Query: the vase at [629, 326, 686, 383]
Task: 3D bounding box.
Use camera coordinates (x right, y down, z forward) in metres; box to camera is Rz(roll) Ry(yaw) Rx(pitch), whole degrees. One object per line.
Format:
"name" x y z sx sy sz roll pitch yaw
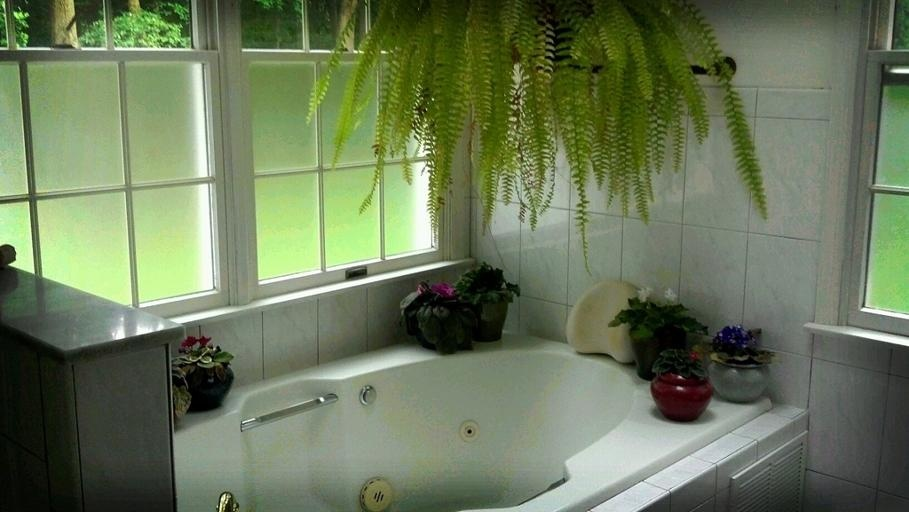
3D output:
"vase" 0.938 0.447 3.336 0.283 0.248 0.252 0 11 5

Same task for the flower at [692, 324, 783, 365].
"flower" 1.320 0.400 3.217 0.303 0.157 0.194 3 12 23

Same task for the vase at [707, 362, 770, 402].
"vase" 1.309 0.560 3.156 0.222 0.138 0.218 4 8 22

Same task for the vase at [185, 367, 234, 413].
"vase" -1.083 0.590 3.072 0.202 0.132 0.199 4 7 24

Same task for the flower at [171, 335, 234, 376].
"flower" -1.112 0.441 3.074 0.205 0.095 0.209 10 14 26

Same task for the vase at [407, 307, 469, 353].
"vase" -0.079 0.360 3.586 0.279 0.182 0.261 3 6 9

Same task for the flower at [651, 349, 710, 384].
"flower" 1.026 0.463 3.115 0.165 0.061 0.163 7 19 25

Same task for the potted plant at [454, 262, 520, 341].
"potted plant" 0.287 0.253 3.791 0.393 0.343 0.345 0 0 -22

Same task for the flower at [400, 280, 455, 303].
"flower" -0.123 0.179 3.639 0.273 0.077 0.132 -3 11 -6
